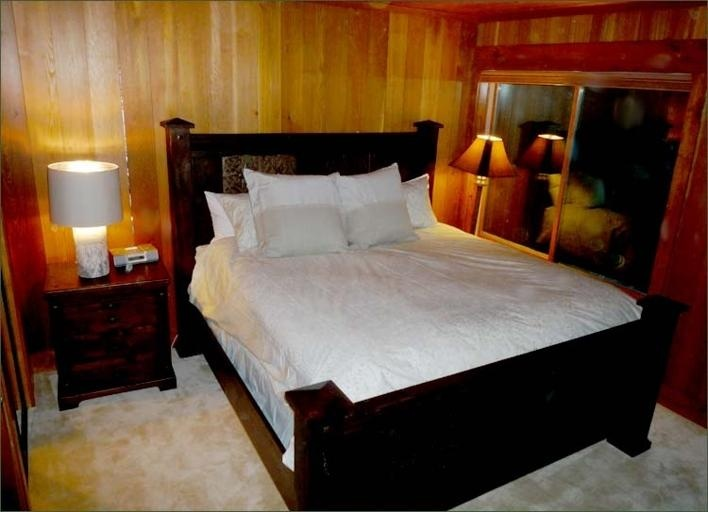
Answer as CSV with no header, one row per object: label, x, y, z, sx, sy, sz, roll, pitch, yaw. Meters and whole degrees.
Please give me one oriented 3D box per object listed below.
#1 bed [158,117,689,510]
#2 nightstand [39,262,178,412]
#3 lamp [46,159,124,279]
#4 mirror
bed,0.216,0.122,3.243,2.421,1.874,2.524,-11,23,-28
nightstand,-1.683,0.523,3.466,0.836,0.807,0.890,8,12,40
lamp,-1.699,-0.241,3.222,0.410,0.697,0.431,-7,21,-17
mirror,1.695,-0.666,4.079,0.064,1.447,1.977,-7,21,-22
